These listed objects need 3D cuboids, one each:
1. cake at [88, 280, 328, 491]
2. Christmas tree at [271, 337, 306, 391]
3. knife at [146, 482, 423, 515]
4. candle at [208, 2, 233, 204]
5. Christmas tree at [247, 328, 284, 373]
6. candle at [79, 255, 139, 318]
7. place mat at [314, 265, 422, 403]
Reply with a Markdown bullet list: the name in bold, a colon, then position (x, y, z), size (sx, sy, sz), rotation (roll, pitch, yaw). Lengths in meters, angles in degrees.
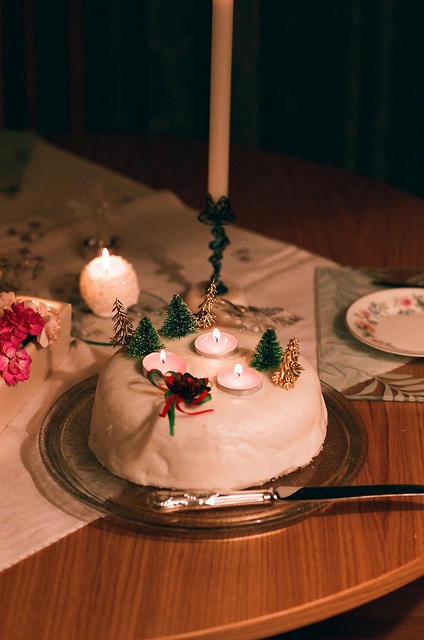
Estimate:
- **cake**: position (0.023, 0.075, 0.744), size (0.324, 0.175, 0.313), rotation (-7, 28, -8)
- **Christmas tree**: position (0.076, 0.048, 0.657), size (0.040, 0.047, 0.048), rotation (6, 33, 6)
- **knife**: position (0.058, 0.165, 0.587), size (0.233, 0.018, 0.031), rotation (0, 19, -3)
- **candle**: position (0.012, -0.326, 0.971), size (0.043, 0.289, 0.079), rotation (-3, 14, -1)
- **Christmas tree**: position (0.056, 0.033, 0.642), size (0.040, 0.041, 0.043), rotation (20, 30, 39)
- **candle**: position (-0.161, -0.052, 1.044), size (0.093, 0.108, 0.093), rotation (24, 38, 30)
- **place mat**: position (0.225, 0.006, 0.939), size (0.138, 0.123, 0.369), rotation (0, 12, 9)
